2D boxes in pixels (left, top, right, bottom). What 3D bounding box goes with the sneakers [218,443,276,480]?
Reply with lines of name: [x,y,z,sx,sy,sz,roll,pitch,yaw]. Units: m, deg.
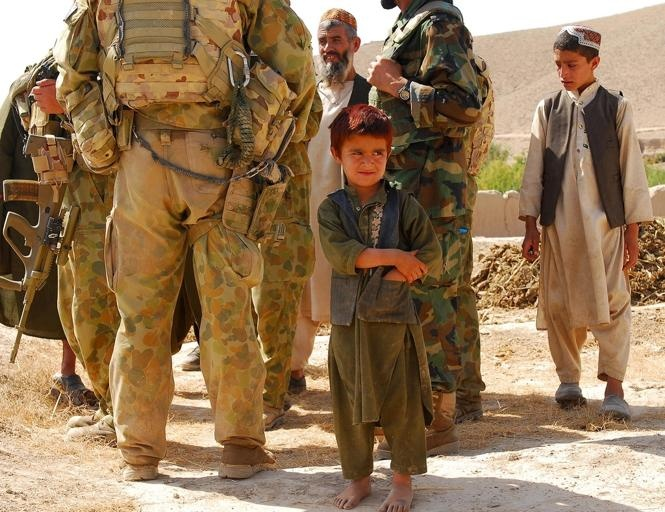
sneakers: [-0.422,1.054,4.830,0.171,0.266,0.405,1,-3,29]

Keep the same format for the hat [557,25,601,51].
hat: [1.735,-1.558,6.225,0.224,0.118,0.234,18,8,29]
